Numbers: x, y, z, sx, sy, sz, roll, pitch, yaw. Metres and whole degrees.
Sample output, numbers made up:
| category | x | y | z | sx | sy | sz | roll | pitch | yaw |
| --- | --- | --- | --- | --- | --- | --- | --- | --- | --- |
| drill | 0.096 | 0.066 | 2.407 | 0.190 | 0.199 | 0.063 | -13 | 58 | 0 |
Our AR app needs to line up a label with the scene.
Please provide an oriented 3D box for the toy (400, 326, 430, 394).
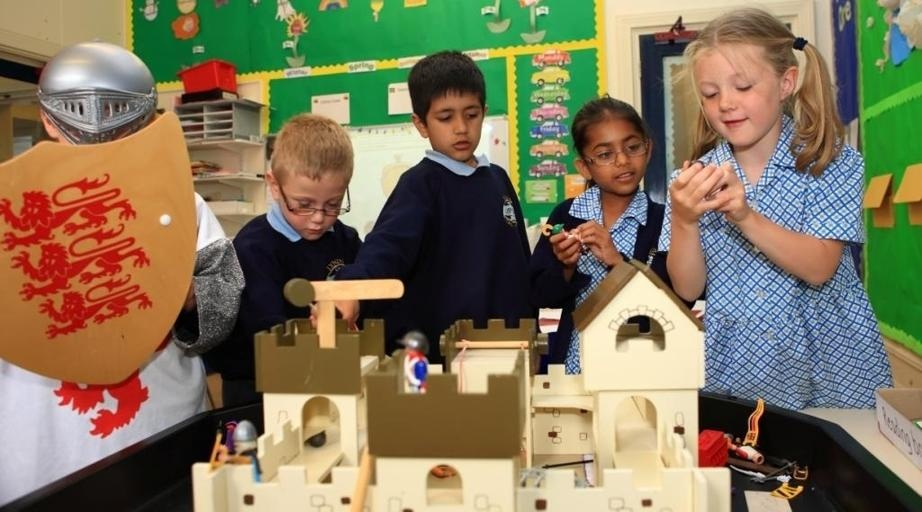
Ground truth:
| category | x | y | z | sx | sy | sz | roll | pitch | yaw |
| --- | --- | --- | --- | --- | --- | --- | --- | --- | --- |
| toy | -0.124 | 0.292 | 2.173 | 0.063 | 0.125 | 0.140 | -5 | 18 | 0 |

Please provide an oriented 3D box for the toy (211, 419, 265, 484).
| category | x | y | z | sx | sy | sz | roll | pitch | yaw |
| --- | --- | --- | --- | --- | --- | --- | --- | --- | --- |
| toy | -0.629 | 0.506 | 2.200 | 0.130 | 0.148 | 0.274 | -10 | 19 | -17 |

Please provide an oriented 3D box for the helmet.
| category | x | y | z | sx | sy | sz | roll | pitch | yaw |
| --- | --- | --- | --- | --- | --- | --- | --- | --- | --- |
| helmet | -1.032 | -0.462 | 2.375 | 0.281 | 0.286 | 0.315 | -2 | 43 | -10 |

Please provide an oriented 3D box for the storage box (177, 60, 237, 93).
| category | x | y | z | sx | sy | sz | roll | pitch | yaw |
| --- | --- | --- | --- | --- | --- | --- | --- | --- | --- |
| storage box | -1.534 | -1.058 | 4.817 | 0.273 | 0.132 | 0.214 | -15 | 0 | 22 |

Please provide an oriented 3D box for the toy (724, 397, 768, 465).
| category | x | y | z | sx | sy | sz | roll | pitch | yaw |
| --- | --- | --- | --- | --- | --- | --- | --- | --- | --- |
| toy | 0.834 | 0.506 | 2.314 | 0.101 | 0.153 | 0.143 | 2 | 19 | 20 |

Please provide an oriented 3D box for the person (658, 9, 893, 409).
| category | x | y | z | sx | sy | sz | roll | pitch | yaw |
| --- | --- | --- | --- | --- | --- | --- | --- | --- | --- |
| person | 1.029 | -0.155 | 2.583 | 0.709 | 1.245 | 0.492 | 0 | 18 | 13 |
